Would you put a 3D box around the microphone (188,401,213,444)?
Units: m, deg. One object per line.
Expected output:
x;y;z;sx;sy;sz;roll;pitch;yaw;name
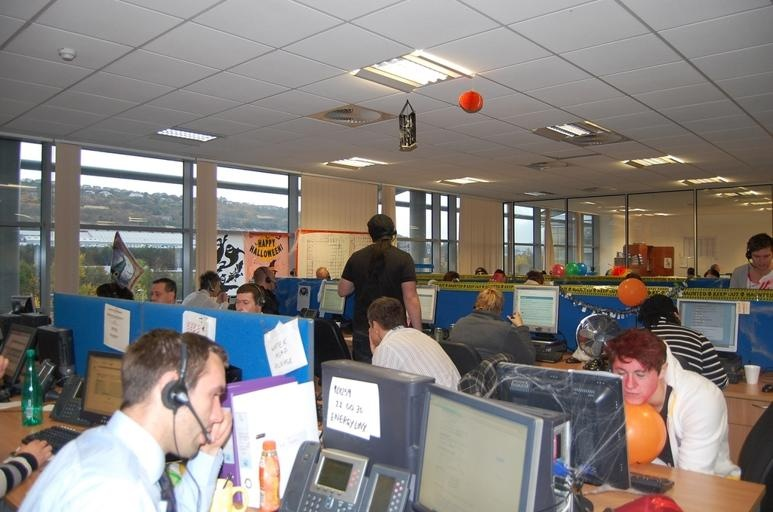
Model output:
-0.743;0.651;2.079;0.043;0.158;0.136;-34;-13;-25;microphone

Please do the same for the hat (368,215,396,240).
-0.033;-0.266;4.474;0.186;0.211;0.227;-6;22;-17;hat

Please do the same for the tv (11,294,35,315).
-3.167;0.422;4.563;0.177;0.116;0.080;4;4;20;tv

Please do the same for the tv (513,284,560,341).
1.427;0.537;4.936;0.513;0.501;0.197;2;1;34;tv

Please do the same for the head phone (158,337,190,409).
-0.817;0.469;2.038;0.100;0.266;0.067;2;0;-14;head phone

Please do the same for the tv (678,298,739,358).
2.535;0.563;4.089;0.462;0.505;0.173;-3;-6;38;tv

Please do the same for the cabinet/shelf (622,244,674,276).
5.788;0.009;11.781;1.128;1.023;0.771;1;3;19;cabinet/shelf

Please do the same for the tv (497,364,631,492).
0.729;0.711;2.145;0.533;0.484;0.197;4;9;36;tv

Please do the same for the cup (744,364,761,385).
2.765;0.892;3.964;0.119;0.127;0.139;0;-9;4;cup
